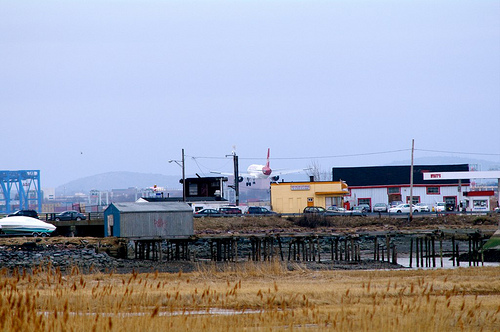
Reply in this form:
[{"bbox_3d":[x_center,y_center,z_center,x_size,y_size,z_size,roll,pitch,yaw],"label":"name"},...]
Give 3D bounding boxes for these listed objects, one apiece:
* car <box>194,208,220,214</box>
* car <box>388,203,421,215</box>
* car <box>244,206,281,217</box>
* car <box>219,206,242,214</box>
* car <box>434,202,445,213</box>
[{"bbox_3d":[-4.801,5.354,136.029,2.238,0.747,1.039,-3,1,-8],"label":"car"},{"bbox_3d":[18.559,5.268,140.526,3.422,1.040,1.478,-4,4,-8],"label":"car"},{"bbox_3d":[1.237,5.461,137.275,3.071,1.250,1.516,-3,3,-3],"label":"car"},{"bbox_3d":[-2.211,5.302,137.836,1.780,0.770,1.034,-3,3,-12],"label":"car"},{"bbox_3d":[23.158,5.117,143.117,1.080,0.929,1.802,0,5,7],"label":"car"}]
